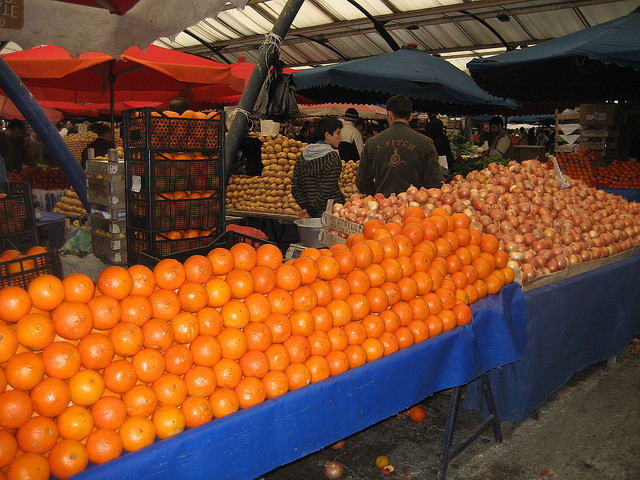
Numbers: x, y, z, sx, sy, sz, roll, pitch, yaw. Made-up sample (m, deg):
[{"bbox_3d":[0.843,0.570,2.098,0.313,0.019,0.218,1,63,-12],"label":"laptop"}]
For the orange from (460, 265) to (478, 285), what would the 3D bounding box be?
[{"bbox_3d":[0.976,0.217,2.926,0.106,0.130,0.109,2,15,5],"label":"orange"}]

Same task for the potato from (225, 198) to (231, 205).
[{"bbox_3d":[-1.604,-0.681,7.926,0.069,0.093,0.080,-12,17,-40],"label":"potato"}]

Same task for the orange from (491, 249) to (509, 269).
[{"bbox_3d":[1.274,0.131,3.190,0.118,0.148,0.120,2,5,6],"label":"orange"}]

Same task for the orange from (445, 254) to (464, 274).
[{"bbox_3d":[0.852,0.164,2.949,0.106,0.129,0.105,28,-11,-7],"label":"orange"}]

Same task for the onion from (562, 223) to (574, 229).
[{"bbox_3d":[2.167,-0.122,3.955,0.060,0.035,0.061,-5,8,-14],"label":"onion"}]

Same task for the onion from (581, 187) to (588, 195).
[{"bbox_3d":[2.714,-0.500,4.640,0.065,0.066,0.064,-4,3,1],"label":"onion"}]

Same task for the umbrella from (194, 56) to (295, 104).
[{"bbox_3d":[-1.189,-2.682,7.233,1.120,0.447,1.128,-8,7,-16],"label":"umbrella"}]

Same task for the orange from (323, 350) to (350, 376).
[{"bbox_3d":[0.088,0.602,2.295,0.104,0.107,0.124,-29,0,-23],"label":"orange"}]

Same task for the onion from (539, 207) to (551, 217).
[{"bbox_3d":[1.936,-0.238,3.913,0.075,0.096,0.077,2,15,10],"label":"onion"}]

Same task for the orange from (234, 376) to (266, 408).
[{"bbox_3d":[-0.306,0.672,1.997,0.114,0.125,0.113,-1,6,-16],"label":"orange"}]

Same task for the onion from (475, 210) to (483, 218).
[{"bbox_3d":[1.294,-0.208,3.684,0.051,0.066,0.054,2,11,24],"label":"onion"}]

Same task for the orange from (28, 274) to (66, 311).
[{"bbox_3d":[-1.112,0.214,1.945,0.135,0.142,0.160,20,-7,0],"label":"orange"}]

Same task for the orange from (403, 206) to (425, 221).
[{"bbox_3d":[0.655,-0.177,3.137,0.102,0.107,0.097,2,-1,29],"label":"orange"}]

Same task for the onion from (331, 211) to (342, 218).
[{"bbox_3d":[0.138,-0.209,3.637,0.055,0.056,0.057,1,12,5],"label":"onion"}]

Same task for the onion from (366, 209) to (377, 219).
[{"bbox_3d":[0.411,-0.203,3.545,0.054,0.054,0.056,2,21,5],"label":"onion"}]

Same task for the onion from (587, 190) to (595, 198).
[{"bbox_3d":[2.801,-0.484,4.671,0.076,0.044,0.079,7,24,22],"label":"onion"}]

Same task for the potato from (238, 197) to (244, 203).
[{"bbox_3d":[-1.362,-0.695,7.828,0.073,0.075,0.073,-1,1,1],"label":"potato"}]

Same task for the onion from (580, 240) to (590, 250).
[{"bbox_3d":[2.279,0.037,3.903,0.065,0.082,0.068,-13,34,44],"label":"onion"}]

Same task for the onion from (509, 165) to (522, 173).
[{"bbox_3d":[1.887,-0.682,4.370,0.072,0.051,0.088,-4,17,-7],"label":"onion"}]

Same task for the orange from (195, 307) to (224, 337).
[{"bbox_3d":[-0.506,0.382,2.141,0.117,0.118,0.119,10,-29,0],"label":"orange"}]

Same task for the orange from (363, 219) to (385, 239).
[{"bbox_3d":[0.355,-0.086,3.017,0.119,0.145,0.122,13,31,3],"label":"orange"}]

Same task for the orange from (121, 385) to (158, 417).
[{"bbox_3d":[-0.738,0.673,1.881,0.121,0.149,0.128,-6,-6,40],"label":"orange"}]

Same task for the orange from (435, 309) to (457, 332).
[{"bbox_3d":[0.749,0.468,2.646,0.114,0.139,0.116,0,0,2],"label":"orange"}]

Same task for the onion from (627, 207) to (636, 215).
[{"bbox_3d":[3.246,-0.302,4.719,0.059,0.075,0.059,-25,9,5],"label":"onion"}]

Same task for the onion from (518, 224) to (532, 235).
[{"bbox_3d":[1.651,-0.083,3.651,0.082,0.081,0.078,0,4,-22],"label":"onion"}]

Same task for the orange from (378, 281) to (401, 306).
[{"bbox_3d":[0.390,0.313,2.611,0.125,0.126,0.121,0,-14,-12],"label":"orange"}]

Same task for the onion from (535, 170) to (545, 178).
[{"bbox_3d":[2.173,-0.650,4.466,0.073,0.041,0.072,-15,30,-24],"label":"onion"}]

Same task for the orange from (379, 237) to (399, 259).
[{"bbox_3d":[0.417,0.047,2.677,0.115,0.121,0.107,-2,5,-10],"label":"orange"}]

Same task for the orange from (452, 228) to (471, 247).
[{"bbox_3d":[0.961,-0.021,3.082,0.117,0.121,0.115,1,6,9],"label":"orange"}]

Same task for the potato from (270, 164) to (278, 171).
[{"bbox_3d":[-0.770,-1.212,7.574,0.102,0.080,0.133,0,4,-10],"label":"potato"}]

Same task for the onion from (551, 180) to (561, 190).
[{"bbox_3d":[2.329,-0.546,4.461,0.081,0.084,0.046,25,-17,6],"label":"onion"}]

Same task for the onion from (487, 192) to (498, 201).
[{"bbox_3d":[1.467,-0.380,3.849,0.074,0.094,0.076,0,26,16],"label":"onion"}]

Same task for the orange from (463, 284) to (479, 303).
[{"bbox_3d":[0.967,0.340,2.879,0.102,0.109,0.104,-2,3,2],"label":"orange"}]

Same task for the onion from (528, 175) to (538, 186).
[{"bbox_3d":[2.028,-0.569,4.288,0.090,0.115,0.094,-6,7,16],"label":"onion"}]

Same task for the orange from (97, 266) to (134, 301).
[{"bbox_3d":[-0.925,0.193,2.068,0.144,0.175,0.152,1,3,9],"label":"orange"}]

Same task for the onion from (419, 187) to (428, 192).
[{"bbox_3d":[0.900,-0.433,3.887,0.042,0.045,0.043,0,2,7],"label":"onion"}]

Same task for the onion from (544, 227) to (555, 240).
[{"bbox_3d":[1.876,-0.049,3.697,0.078,0.095,0.080,-15,6,11],"label":"onion"}]

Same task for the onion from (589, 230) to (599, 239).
[{"bbox_3d":[2.436,-0.044,4.027,0.081,0.048,0.065,5,16,41],"label":"onion"}]

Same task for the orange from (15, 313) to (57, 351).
[{"bbox_3d":[-1.112,0.351,1.808,0.144,0.142,0.145,9,-1,42],"label":"orange"}]

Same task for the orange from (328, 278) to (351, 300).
[{"bbox_3d":[0.108,0.266,2.481,0.106,0.110,0.105,0,8,13],"label":"orange"}]

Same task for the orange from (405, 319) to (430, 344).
[{"bbox_3d":[0.544,0.516,2.529,0.112,0.115,0.106,-2,4,-5],"label":"orange"}]

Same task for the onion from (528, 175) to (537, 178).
[{"bbox_3d":[2.036,-0.611,4.349,0.049,0.019,0.051,0,7,6],"label":"onion"}]

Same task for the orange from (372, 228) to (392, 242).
[{"bbox_3d":[0.381,-0.033,2.805,0.080,0.101,0.085,-4,6,3],"label":"orange"}]

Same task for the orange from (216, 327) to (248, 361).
[{"bbox_3d":[-0.406,0.498,2.135,0.156,0.182,0.149,-6,7,-33],"label":"orange"}]

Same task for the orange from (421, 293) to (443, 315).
[{"bbox_3d":[0.647,0.369,2.646,0.104,0.127,0.115,3,47,7],"label":"orange"}]

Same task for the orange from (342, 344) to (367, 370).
[{"bbox_3d":[0.185,0.589,2.356,0.100,0.120,0.098,-20,55,-9],"label":"orange"}]

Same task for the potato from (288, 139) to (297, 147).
[{"bbox_3d":[-0.466,-1.665,7.789,0.096,0.104,0.130,12,25,32],"label":"potato"}]

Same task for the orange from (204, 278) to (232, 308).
[{"bbox_3d":[-0.481,0.249,2.157,0.124,0.130,0.124,8,-17,-12],"label":"orange"}]

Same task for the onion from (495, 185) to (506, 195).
[{"bbox_3d":[1.618,-0.453,4.062,0.045,0.086,0.084,-8,31,19],"label":"onion"}]

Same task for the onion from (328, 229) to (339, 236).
[{"bbox_3d":[0.104,-0.058,3.425,0.050,0.052,0.058,9,-20,-37],"label":"onion"}]

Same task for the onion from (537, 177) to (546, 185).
[{"bbox_3d":[2.122,-0.564,4.338,0.077,0.078,0.079,-2,7,5],"label":"onion"}]

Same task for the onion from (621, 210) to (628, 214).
[{"bbox_3d":[3.138,-0.287,4.663,0.051,0.035,0.061,-2,7,4],"label":"onion"}]

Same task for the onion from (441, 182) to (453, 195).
[{"bbox_3d":[1.102,-0.444,3.953,0.113,0.143,0.117,-7,6,10],"label":"onion"}]
